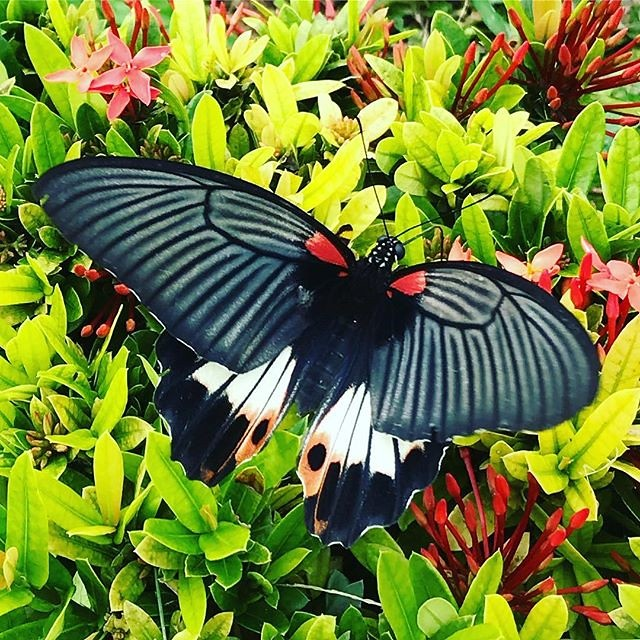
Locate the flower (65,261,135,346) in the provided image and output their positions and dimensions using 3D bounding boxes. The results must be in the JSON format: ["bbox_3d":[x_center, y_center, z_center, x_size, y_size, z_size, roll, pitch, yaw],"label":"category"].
[{"bbox_3d":[-0.456,-0.031,2.212,0.170,0.159,0.086,31,39,4],"label":"flower"}]

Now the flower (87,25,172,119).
[{"bbox_3d":[-0.407,-0.522,2.230,0.192,0.181,0.102,-1,1,-13],"label":"flower"}]

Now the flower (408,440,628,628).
[{"bbox_3d":[0.328,0.429,1.940,0.369,0.222,0.327,38,0,-3],"label":"flower"}]

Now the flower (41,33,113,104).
[{"bbox_3d":[-0.529,-0.526,2.174,0.048,0.122,0.097,42,-28,27],"label":"flower"}]
